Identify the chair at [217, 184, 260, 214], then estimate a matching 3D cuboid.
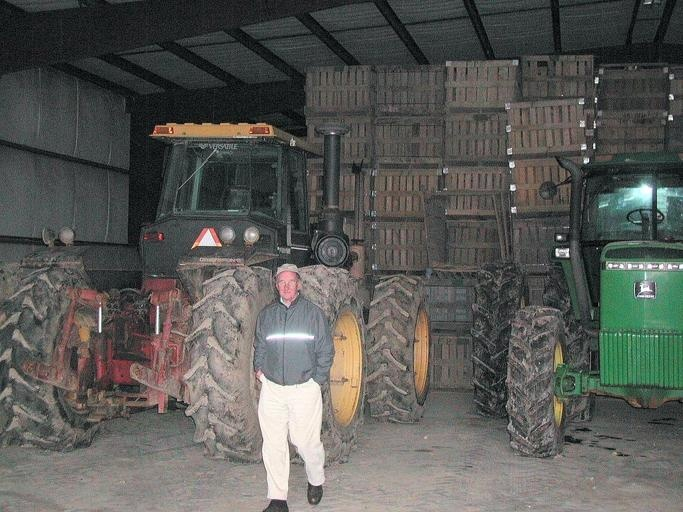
[{"bbox_3d":[-1.355,-0.751,8.656,0.392,0.354,0.157,-1,-16,-3],"label":"chair"}]
